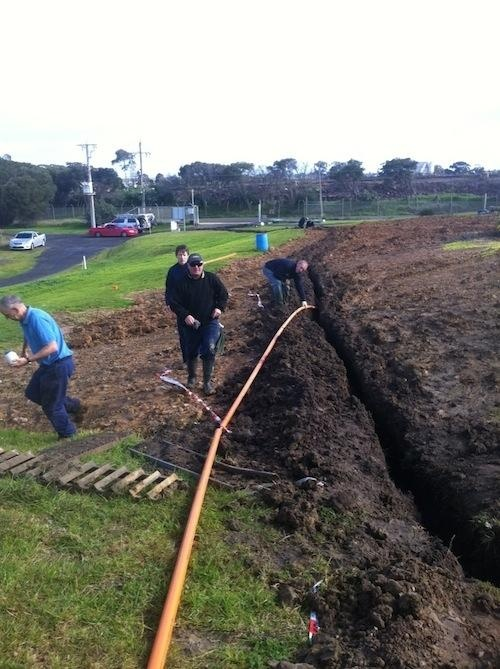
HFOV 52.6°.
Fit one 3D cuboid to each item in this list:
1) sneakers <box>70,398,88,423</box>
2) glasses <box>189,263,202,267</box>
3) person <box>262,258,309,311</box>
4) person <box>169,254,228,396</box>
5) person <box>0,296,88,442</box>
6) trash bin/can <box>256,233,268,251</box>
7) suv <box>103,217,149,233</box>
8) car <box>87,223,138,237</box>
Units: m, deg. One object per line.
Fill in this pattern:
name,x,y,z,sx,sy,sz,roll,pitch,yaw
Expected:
sneakers,-2.213,0.984,6.564,0.202,0.302,0.124,0,-2,3
glasses,-0.653,-0.865,6.292,0.149,0.065,0.072,-7,13,-26
person,0.796,-1.087,10.537,0.479,0.965,1.189,-8,14,-29
person,-0.679,-0.130,6.770,0.733,1.880,0.846,-4,13,-12
person,-2.327,0.393,5.698,0.642,1.792,1.090,-5,13,-18
trash bin/can,0.550,-3.975,21.810,0.786,0.807,0.762,-1,10,-6
suv,-9.920,-9.272,43.089,3.102,1.302,1.581,5,24,3
car,-11.127,-8.416,41.041,3.465,1.049,1.841,2,17,-1
